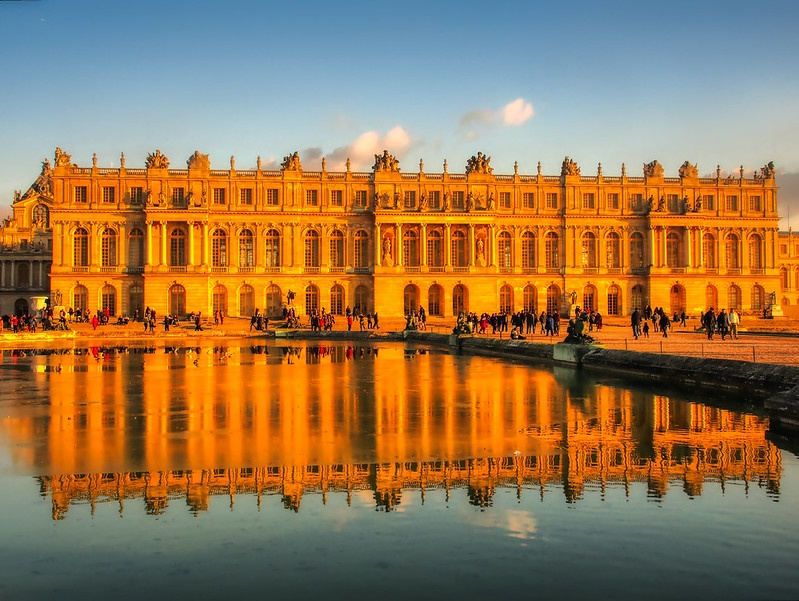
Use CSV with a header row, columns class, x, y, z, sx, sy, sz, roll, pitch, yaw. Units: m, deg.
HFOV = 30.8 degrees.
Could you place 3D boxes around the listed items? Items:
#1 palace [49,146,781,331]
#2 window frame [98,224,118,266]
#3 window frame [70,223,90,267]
class,x,y,z,sx,sy,sz,roll,pitch,yaw
palace,1.053,-4.887,109.984,53.276,12.004,11.217,-1,6,-20
window frame,-20.575,-3.686,102.558,1.022,2.757,0.478,0,-4,-10
window frame,-22.453,-3.698,102.252,1.077,2.791,0.654,0,-4,-11
